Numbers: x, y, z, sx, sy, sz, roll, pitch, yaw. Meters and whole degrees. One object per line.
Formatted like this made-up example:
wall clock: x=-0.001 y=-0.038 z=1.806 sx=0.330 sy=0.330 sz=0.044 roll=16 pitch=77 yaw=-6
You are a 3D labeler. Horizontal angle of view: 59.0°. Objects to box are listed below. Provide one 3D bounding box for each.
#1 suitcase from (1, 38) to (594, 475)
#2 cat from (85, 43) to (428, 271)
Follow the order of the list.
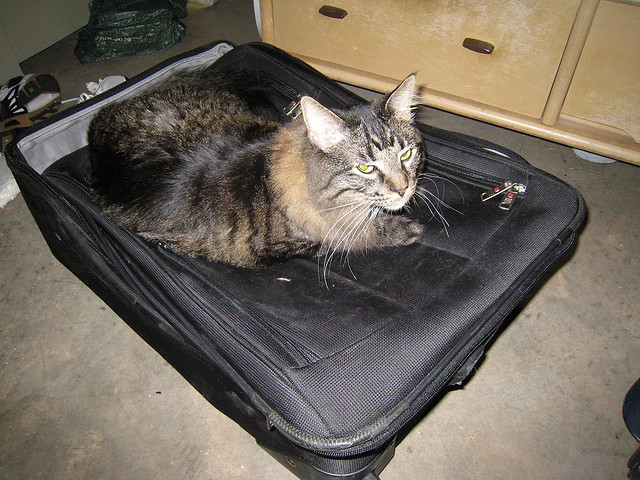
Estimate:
suitcase: x=-0.185 y=0.258 z=2.010 sx=1.686 sy=0.496 sz=1.241 roll=36 pitch=57 yaw=25
cat: x=-0.235 y=-0.203 z=2.071 sx=1.025 sy=0.653 sz=0.703 roll=4 pitch=50 yaw=-2
